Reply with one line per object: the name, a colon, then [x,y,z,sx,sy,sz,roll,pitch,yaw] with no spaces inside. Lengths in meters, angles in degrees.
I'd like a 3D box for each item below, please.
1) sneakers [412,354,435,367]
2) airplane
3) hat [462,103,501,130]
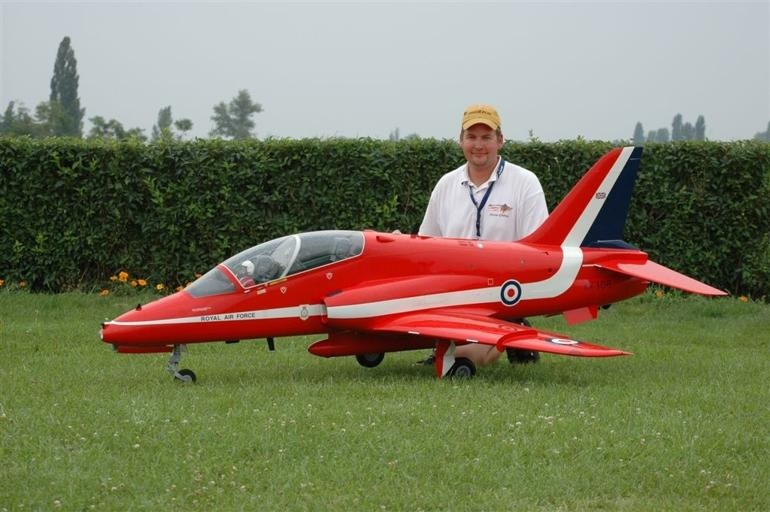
sneakers: [0.516,1.431,12.174,0.312,0.132,0.104,1,6,35]
airplane: [0.406,0.350,11.567,5.154,1.973,4.220,-2,2,-17]
hat: [1.242,-1.801,11.622,0.500,0.345,0.342,1,3,2]
